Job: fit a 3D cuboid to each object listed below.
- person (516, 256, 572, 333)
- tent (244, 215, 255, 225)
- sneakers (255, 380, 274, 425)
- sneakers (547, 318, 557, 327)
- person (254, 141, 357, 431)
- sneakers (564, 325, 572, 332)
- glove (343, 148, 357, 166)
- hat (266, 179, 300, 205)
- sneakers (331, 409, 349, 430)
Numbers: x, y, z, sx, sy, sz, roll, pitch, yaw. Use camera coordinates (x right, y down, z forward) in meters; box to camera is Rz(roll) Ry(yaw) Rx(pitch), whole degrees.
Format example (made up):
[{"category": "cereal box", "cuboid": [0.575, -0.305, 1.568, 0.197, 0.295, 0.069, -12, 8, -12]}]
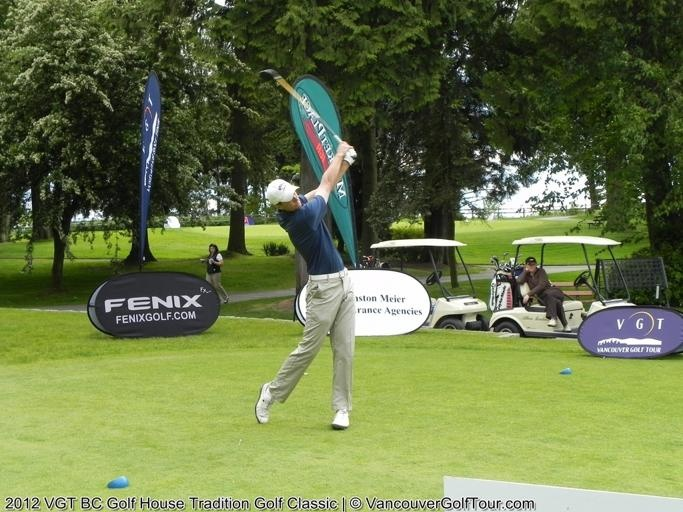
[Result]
[{"category": "person", "cuboid": [4.165, 0.785, 15.719, 0.765, 1.495, 1.002, 0, -2, -40]}, {"category": "tent", "cuboid": [-12.670, -4.822, 106.134, 0.987, 1.514, 8.598, -1, -1, -4]}, {"category": "sneakers", "cuboid": [-0.798, 1.510, 7.884, 0.164, 0.420, 0.133, -8, -9, 36]}, {"category": "sneakers", "cuboid": [4.246, 1.343, 15.330, 0.170, 0.157, 0.213, -2, -1, 16]}, {"category": "person", "cuboid": [-0.314, 0.251, 8.002, 0.978, 3.009, 0.844, -1, -1, 1]}, {"category": "sneakers", "cuboid": [4.638, 1.500, 15.547, 0.107, 0.183, 0.176, 0, -7, -6]}, {"category": "glove", "cuboid": [0.107, -1.087, 8.261, 0.086, 0.199, 0.141, 4, 17, -15]}, {"category": "hat", "cuboid": [-0.611, -0.656, 7.765, 0.284, 0.275, 0.319, -1, -1, -4]}, {"category": "sneakers", "cuboid": [-0.004, 1.655, 7.731, 0.185, 0.173, 0.244, -1, -1, 0]}]
